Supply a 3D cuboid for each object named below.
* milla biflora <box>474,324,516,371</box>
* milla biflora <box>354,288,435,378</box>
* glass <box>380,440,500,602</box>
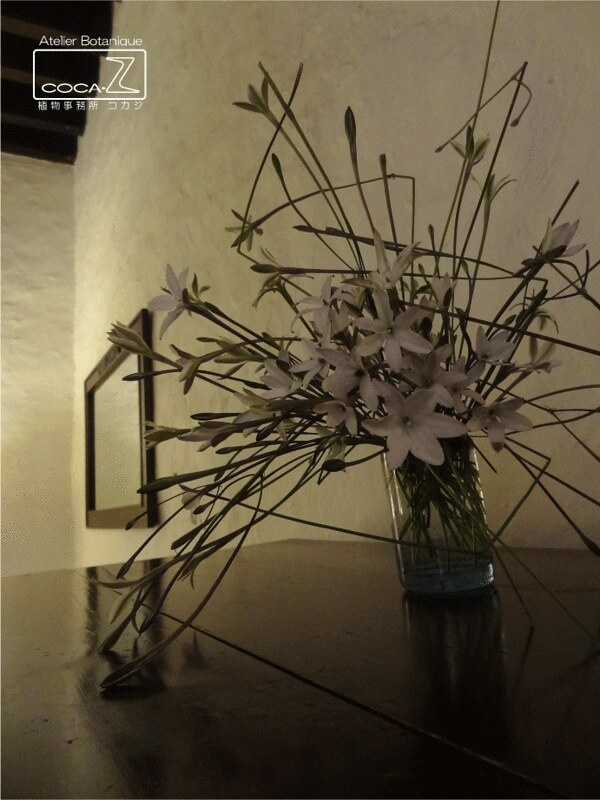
[{"bbox_3d":[0.129,-0.036,0.466,0.030,0.028,0.015,27,17,15],"label":"milla biflora"},{"bbox_3d":[0.059,-0.043,0.428,0.046,0.018,0.058,41,-20,-18],"label":"milla biflora"},{"bbox_3d":[0.105,0.084,0.547,0.076,0.112,0.075,-3,-17,22],"label":"glass"}]
